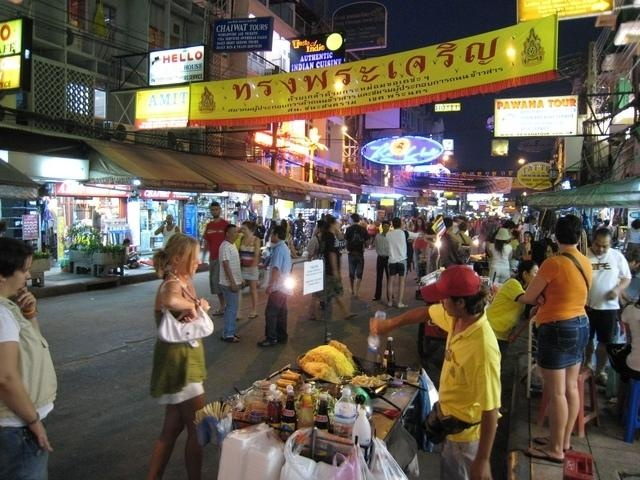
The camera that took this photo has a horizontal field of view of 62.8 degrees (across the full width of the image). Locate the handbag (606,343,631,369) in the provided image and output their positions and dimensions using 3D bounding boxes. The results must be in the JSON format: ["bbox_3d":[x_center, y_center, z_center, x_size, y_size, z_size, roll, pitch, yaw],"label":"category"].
[{"bbox_3d":[4.031,1.580,7.032,0.136,0.393,0.299,2,7,0],"label":"handbag"}]

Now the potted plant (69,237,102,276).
[{"bbox_3d":[-6.735,0.484,15.661,1.085,1.371,0.976,3,2,39],"label":"potted plant"}]

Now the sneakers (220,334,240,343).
[{"bbox_3d":[-1.715,1.885,10.038,0.235,0.081,0.140,-1,1,13],"label":"sneakers"}]

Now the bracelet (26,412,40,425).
[{"bbox_3d":[-2.568,1.600,4.699,0.035,0.094,0.083,38,16,-26],"label":"bracelet"}]

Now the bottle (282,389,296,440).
[{"bbox_3d":[-0.296,1.614,4.922,0.163,0.460,0.193,-2,11,-11],"label":"bottle"}]

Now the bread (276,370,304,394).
[{"bbox_3d":[-0.332,1.505,5.629,0.220,0.092,0.233,7,14,22],"label":"bread"}]

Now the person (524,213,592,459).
[{"bbox_3d":[2.845,1.174,6.297,0.624,2.867,0.726,11,15,43],"label":"person"}]

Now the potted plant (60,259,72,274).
[{"bbox_3d":[-7.601,0.796,15.873,0.382,0.438,0.398,-5,-4,35],"label":"potted plant"}]

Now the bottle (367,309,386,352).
[{"bbox_3d":[0.641,1.048,6.011,0.201,0.526,0.207,0,33,0],"label":"bottle"}]

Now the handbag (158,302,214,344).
[{"bbox_3d":[-1.523,0.948,5.653,0.516,0.518,0.298,-1,-15,17],"label":"handbag"}]

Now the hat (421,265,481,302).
[{"bbox_3d":[1.243,0.390,5.051,0.545,0.314,0.367,-1,18,6],"label":"hat"}]

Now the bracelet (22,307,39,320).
[{"bbox_3d":[-2.913,0.724,5.243,0.107,0.085,0.099,-1,-5,35],"label":"bracelet"}]

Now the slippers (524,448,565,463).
[{"bbox_3d":[2.702,2.569,6.308,0.410,0.114,0.217,-1,0,31],"label":"slippers"}]

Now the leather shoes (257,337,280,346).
[{"bbox_3d":[-0.987,1.896,9.883,0.383,0.198,0.150,4,-2,-6],"label":"leather shoes"}]

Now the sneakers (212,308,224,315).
[{"bbox_3d":[-2.316,1.620,12.021,0.149,0.173,0.441,0,-3,-3],"label":"sneakers"}]

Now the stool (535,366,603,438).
[{"bbox_3d":[3.445,2.047,7.327,0.819,1.190,0.804,-1,2,38],"label":"stool"}]

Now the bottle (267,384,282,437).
[{"bbox_3d":[-0.439,1.591,5.072,0.141,0.376,0.295,0,12,-5],"label":"bottle"}]

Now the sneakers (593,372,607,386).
[{"bbox_3d":[4.304,2.158,8.159,0.096,0.122,0.266,-2,3,-37],"label":"sneakers"}]

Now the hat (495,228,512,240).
[{"bbox_3d":[4.120,-0.120,11.809,0.310,0.183,0.431,-4,0,27],"label":"hat"}]
